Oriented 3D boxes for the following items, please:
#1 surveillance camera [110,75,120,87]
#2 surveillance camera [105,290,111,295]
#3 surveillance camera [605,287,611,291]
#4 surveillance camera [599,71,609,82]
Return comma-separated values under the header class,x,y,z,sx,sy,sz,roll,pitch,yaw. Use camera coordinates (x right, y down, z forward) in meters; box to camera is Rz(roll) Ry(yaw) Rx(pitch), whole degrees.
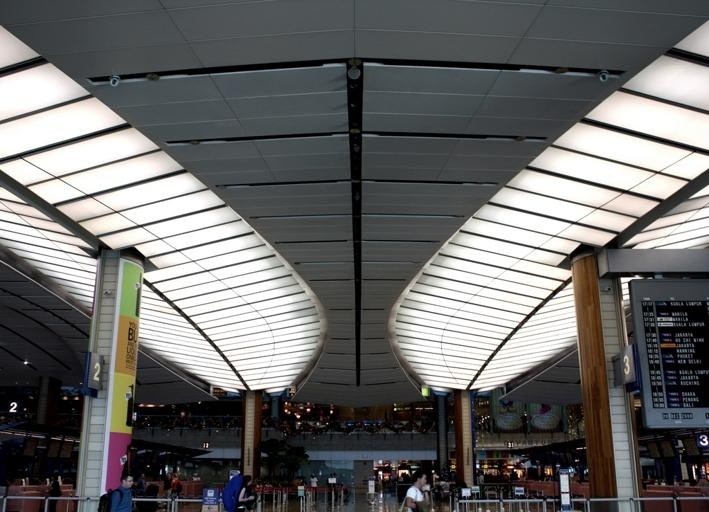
class,x,y,z,sx,sy,sz,roll,pitch,yaw
surveillance camera,-4.498,-3.263,11.390,0.173,0.144,0.294,10,-24,-24
surveillance camera,-7.741,1.169,19.056,0.210,0.172,0.077,6,-26,-15
surveillance camera,7.684,1.026,18.525,0.173,0.076,0.155,-10,-4,19
surveillance camera,4.607,-3.338,11.262,0.166,0.116,0.210,-7,-22,15
